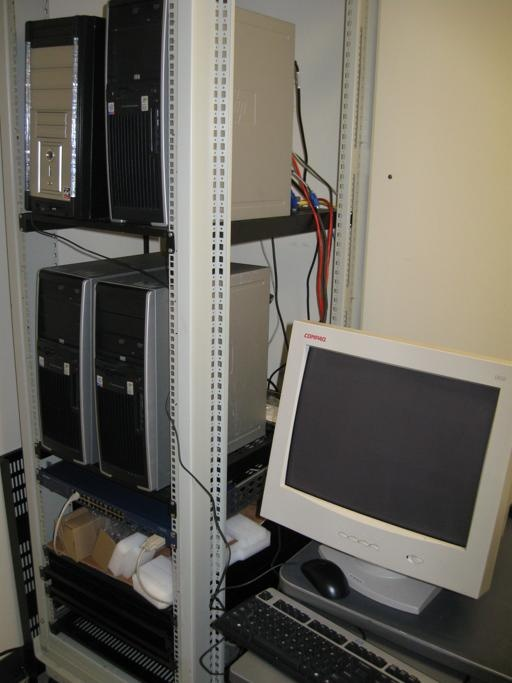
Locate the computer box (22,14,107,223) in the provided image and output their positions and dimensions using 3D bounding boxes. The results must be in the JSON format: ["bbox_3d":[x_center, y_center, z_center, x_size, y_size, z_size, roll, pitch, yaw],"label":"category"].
[{"bbox_3d":[-0.392,-0.419,1.164,0.163,0.397,0.202,1,2,-14],"label":"computer box"}]

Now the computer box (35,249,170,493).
[{"bbox_3d":[-0.276,0.058,1.199,0.329,0.479,0.341,2,-2,-36],"label":"computer box"}]
